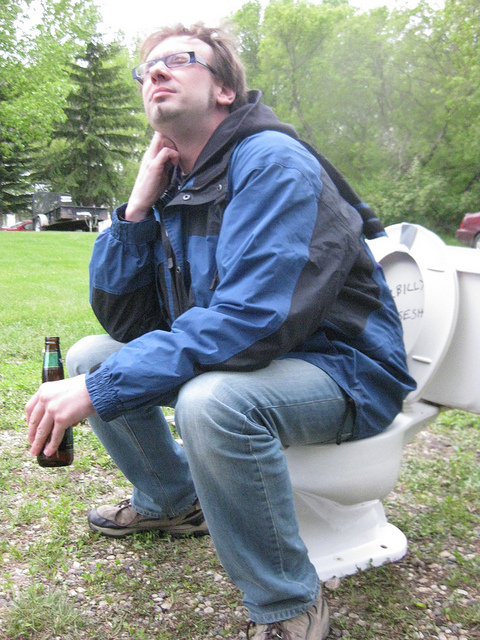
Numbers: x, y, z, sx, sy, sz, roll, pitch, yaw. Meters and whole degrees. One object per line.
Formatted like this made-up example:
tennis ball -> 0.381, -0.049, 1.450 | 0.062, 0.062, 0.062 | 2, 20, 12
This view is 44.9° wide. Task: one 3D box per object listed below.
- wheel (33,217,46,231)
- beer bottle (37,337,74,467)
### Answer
wheel -> -8.530, -4.088, 24.615 | 0.294, 0.523, 1.451 | -5, 11, -27
beer bottle -> -0.527, 0.230, 1.734 | 0.154, 0.404, 0.109 | 0, 7, -9
